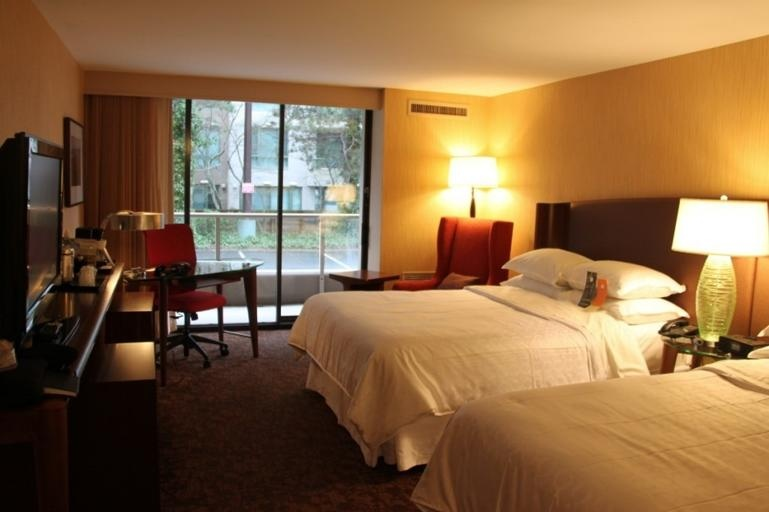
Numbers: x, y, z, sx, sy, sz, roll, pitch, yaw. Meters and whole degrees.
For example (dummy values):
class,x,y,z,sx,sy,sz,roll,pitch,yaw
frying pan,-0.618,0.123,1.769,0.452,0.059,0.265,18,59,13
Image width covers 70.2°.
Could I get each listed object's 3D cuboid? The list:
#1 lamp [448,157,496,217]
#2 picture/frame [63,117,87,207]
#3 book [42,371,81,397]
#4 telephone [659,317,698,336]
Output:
class,x,y,z,sx,sy,sz,roll,pitch,yaw
lamp,1.052,-0.843,6.563,0.607,0.731,0.457,0,12,-7
picture/frame,-3.045,-0.942,5.336,0.077,0.818,0.810,2,13,-23
book,-1.359,0.531,2.304,0.119,0.028,0.112,8,18,-10
telephone,2.186,0.533,4.057,0.204,0.089,0.155,-2,4,-32
